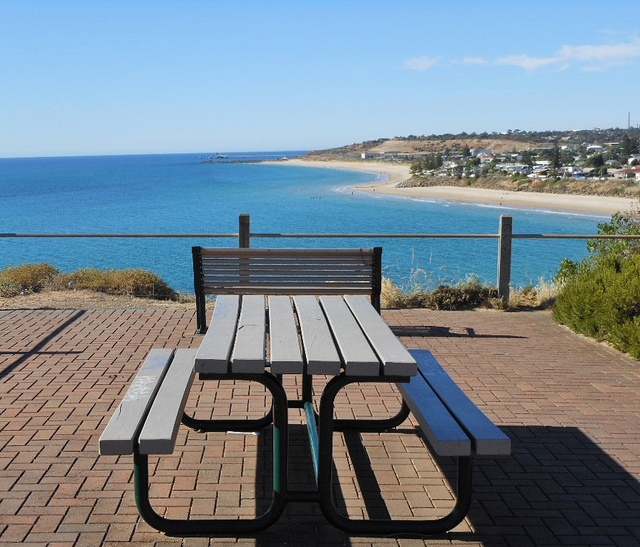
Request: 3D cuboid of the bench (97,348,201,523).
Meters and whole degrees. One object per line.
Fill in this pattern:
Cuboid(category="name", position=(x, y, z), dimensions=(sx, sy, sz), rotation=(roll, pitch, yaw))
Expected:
Cuboid(category="bench", position=(-0.951, 0.969, 3.135), dimensions=(0.232, 0.394, 0.935), rotation=(5, 12, -8))

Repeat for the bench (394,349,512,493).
Cuboid(category="bench", position=(0.826, 0.958, 3.430), dimensions=(0.312, 0.210, 0.941), rotation=(6, 8, -3))

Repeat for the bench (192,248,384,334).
Cuboid(category="bench", position=(-0.344, 0.200, 6.031), dimensions=(1.970, 0.745, 0.664), rotation=(0, -10, -6))
